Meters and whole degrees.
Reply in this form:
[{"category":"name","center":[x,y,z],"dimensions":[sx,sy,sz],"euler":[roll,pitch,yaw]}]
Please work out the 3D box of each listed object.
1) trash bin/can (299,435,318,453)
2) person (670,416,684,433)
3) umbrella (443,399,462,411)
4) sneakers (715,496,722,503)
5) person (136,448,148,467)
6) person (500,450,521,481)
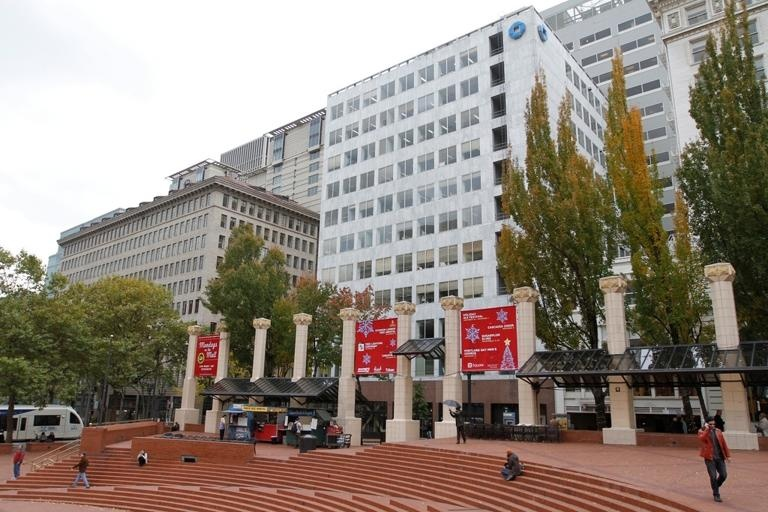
[{"category":"trash bin/can","center":[-4.701,11.669,36.297],"dimensions":[1.134,1.078,1.086],"euler":[0,-7,4]},{"category":"person","center":[22.088,12.721,43.877],"dimensions":[0.723,1.181,3.738],"euler":[-10,-20,21]},{"category":"umbrella","center":[4.347,9.411,36.537],"dimensions":[1.478,0.462,1.433],"euler":[9,-11,-5]},{"category":"sneakers","center":[13.127,9.566,22.838],"dimensions":[0.339,0.267,0.172],"euler":[9,-22,-27]},{"category":"person","center":[-15.556,13.126,37.689],"dimensions":[0.660,1.065,0.933],"euler":[6,-21,-20]},{"category":"person","center":[6.004,9.897,27.409],"dimensions":[0.981,1.307,0.532],"euler":[-5,-20,9]}]
